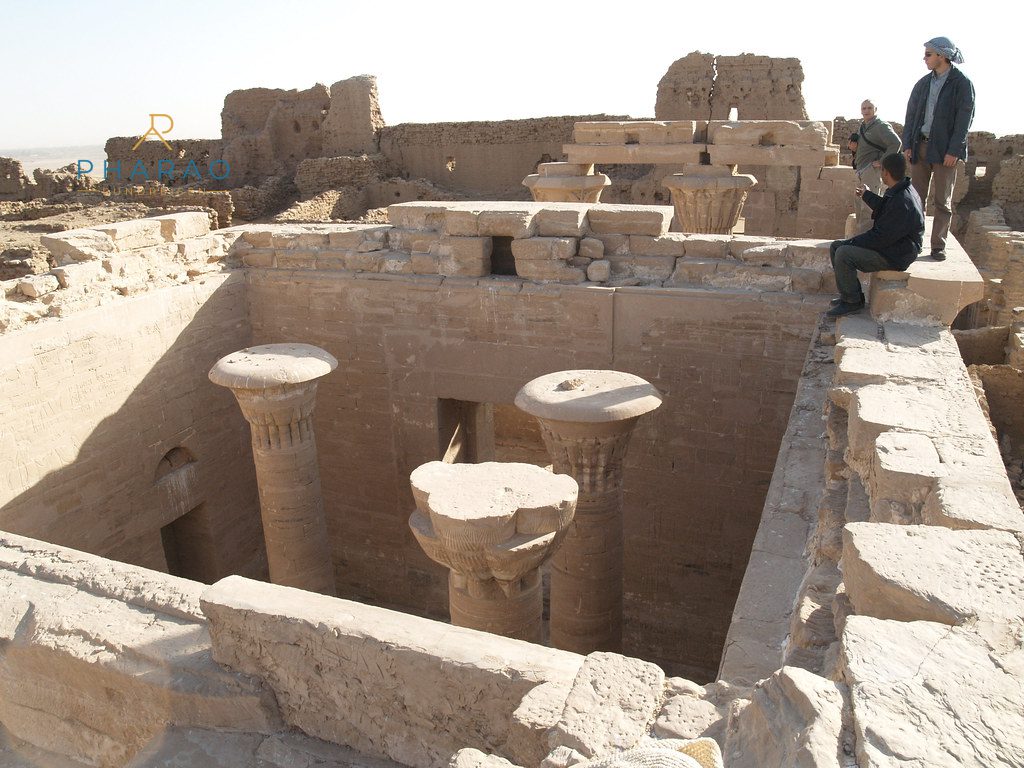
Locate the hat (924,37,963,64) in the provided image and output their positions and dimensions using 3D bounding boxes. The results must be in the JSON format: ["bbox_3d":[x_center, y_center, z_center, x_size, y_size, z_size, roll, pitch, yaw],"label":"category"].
[{"bbox_3d":[3.312,-2.528,6.632,0.251,0.176,0.306,7,21,22],"label":"hat"}]

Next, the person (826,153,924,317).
[{"bbox_3d":[2.675,-1.058,6.319,0.587,1.176,0.528,6,22,19],"label":"person"}]
